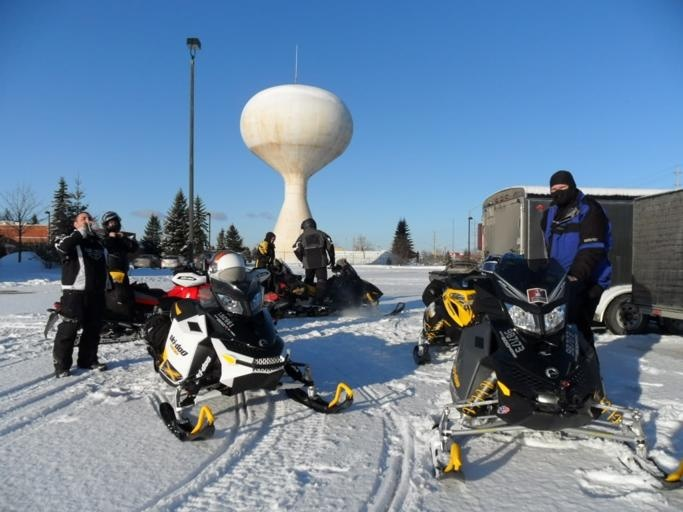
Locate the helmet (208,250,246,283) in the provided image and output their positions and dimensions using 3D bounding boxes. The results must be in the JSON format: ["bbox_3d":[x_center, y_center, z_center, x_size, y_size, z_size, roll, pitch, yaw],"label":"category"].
[{"bbox_3d":[-1.220,0.078,5.878,0.306,0.345,0.349,5,9,-11],"label":"helmet"}]

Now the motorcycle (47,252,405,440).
[{"bbox_3d":[-1.155,0.871,5.772,2.259,1.708,1.418,2,8,7],"label":"motorcycle"}]

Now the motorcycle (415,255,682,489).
[{"bbox_3d":[1.673,0.881,5.460,1.394,1.119,2.363,0,-3,1],"label":"motorcycle"}]

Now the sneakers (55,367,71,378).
[{"bbox_3d":[-3.486,1.454,6.897,0.143,0.131,0.138,6,12,-18],"label":"sneakers"}]
